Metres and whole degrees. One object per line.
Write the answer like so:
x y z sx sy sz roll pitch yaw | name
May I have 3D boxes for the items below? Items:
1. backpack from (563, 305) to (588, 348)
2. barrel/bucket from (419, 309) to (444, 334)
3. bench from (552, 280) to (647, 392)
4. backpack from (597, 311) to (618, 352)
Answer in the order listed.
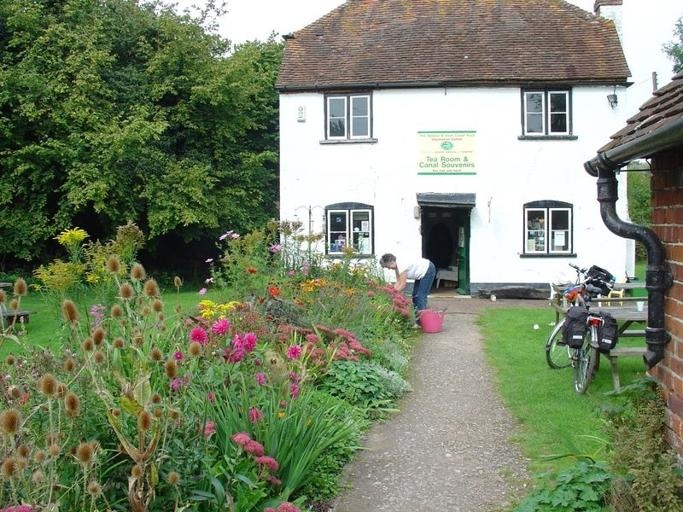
3.089 0.948 8.444 0.235 0.549 0.394 13 -17 4 | backpack
1.836 1.343 13.149 0.401 0.376 0.435 -1 -5 0 | barrel/bucket
3.734 1.193 9.293 1.236 0.971 1.360 -1 6 6 | bench
3.344 0.987 8.041 0.230 0.534 0.590 2 1 23 | backpack
